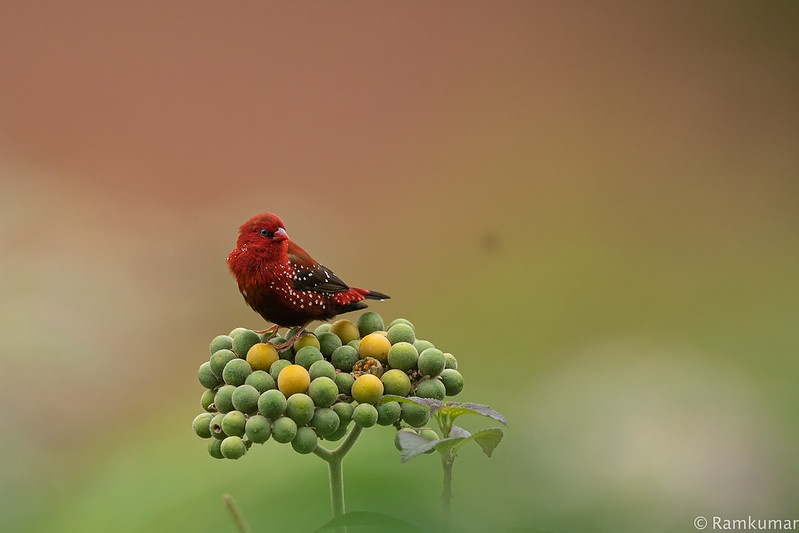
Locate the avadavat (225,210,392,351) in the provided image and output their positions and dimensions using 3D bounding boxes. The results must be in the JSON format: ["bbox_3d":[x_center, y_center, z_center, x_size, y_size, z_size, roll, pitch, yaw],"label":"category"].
[{"bbox_3d":[-0.328,0.020,3.189,0.573,0.433,0.310,-7,7,-39],"label":"avadavat"}]
